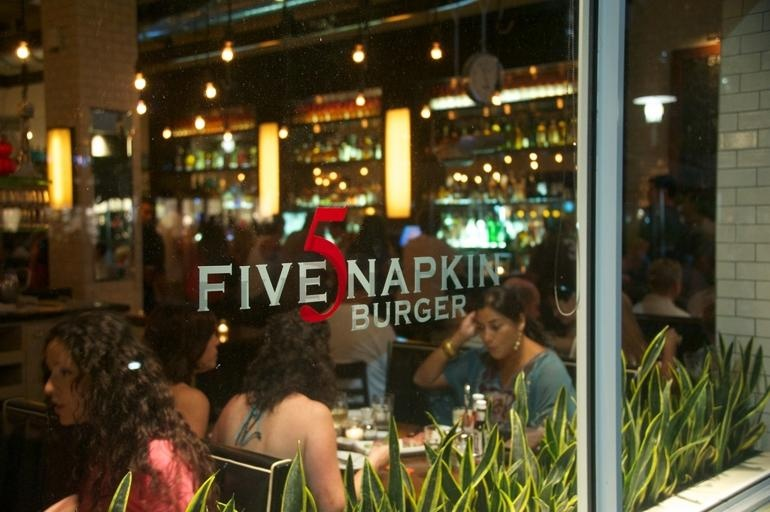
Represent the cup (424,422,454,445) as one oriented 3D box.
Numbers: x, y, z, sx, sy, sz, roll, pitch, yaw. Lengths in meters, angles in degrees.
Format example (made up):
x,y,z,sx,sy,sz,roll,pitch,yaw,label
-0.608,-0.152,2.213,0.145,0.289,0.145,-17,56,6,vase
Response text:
x,y,z,sx,sy,sz,roll,pitch,yaw,label
0.230,0.773,3.508,0.085,0.075,0.093,0,-4,0,cup
